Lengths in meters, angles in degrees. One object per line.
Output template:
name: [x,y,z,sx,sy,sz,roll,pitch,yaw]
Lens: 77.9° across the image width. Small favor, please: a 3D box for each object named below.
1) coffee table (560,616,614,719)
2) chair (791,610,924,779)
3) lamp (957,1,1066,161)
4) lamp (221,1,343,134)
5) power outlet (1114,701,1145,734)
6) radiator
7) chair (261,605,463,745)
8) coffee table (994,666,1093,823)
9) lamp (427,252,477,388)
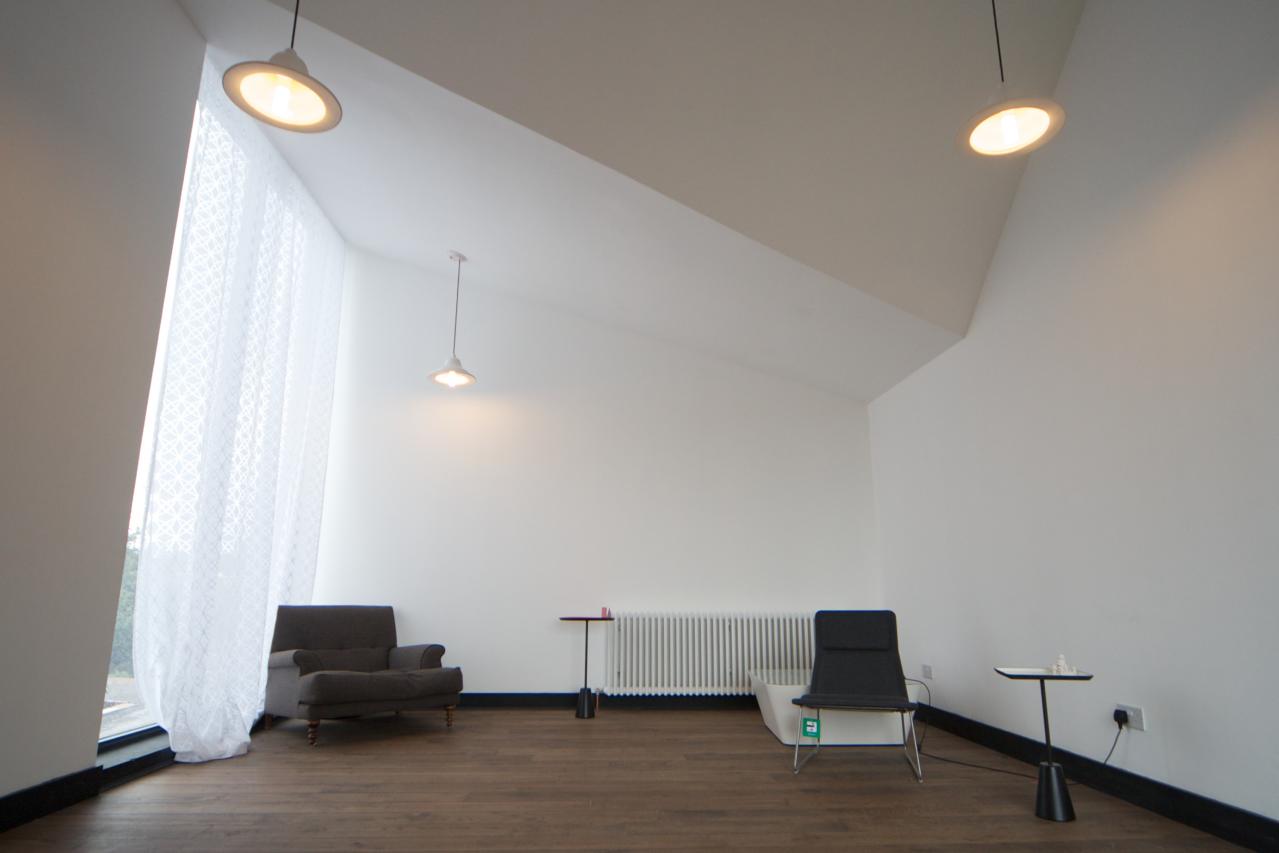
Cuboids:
coffee table: [-0.481,2.193,7.305,0.511,0.861,0.527,0,-4,-6]
chair: [1.610,1.912,5.816,0.829,1.098,1.143,-3,-15,20]
lamp: [2.049,-1.685,4.313,0.478,0.296,0.336,-2,-5,25]
lamp: [-1.934,-1.850,4.278,0.567,0.377,0.378,3,-5,-29]
power outlet: [3.056,1.800,4.897,0.085,0.151,0.210,10,-10,-16]
radiator: [0.601,2.152,7.719,1.850,0.786,0.453,-1,-12,3]
chair: [-2.346,2.008,6.635,1.401,1.078,1.265,7,-17,-33]
coffee table: [2.491,1.937,4.810,0.593,0.779,0.556,-5,-15,19]
lamp: [-1.789,-1.007,7.602,0.391,1.247,0.780,1,-4,-12]
